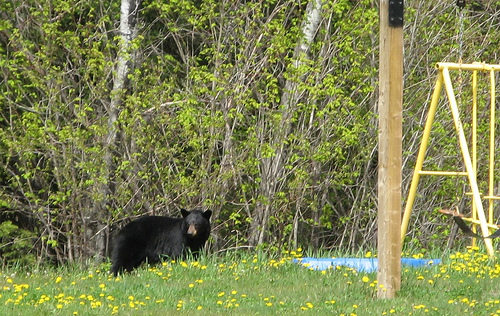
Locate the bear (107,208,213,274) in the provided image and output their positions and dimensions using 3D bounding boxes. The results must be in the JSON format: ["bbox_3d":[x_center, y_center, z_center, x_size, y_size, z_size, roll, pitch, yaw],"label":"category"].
[{"bbox_3d":[-1.819,1.708,20.643,1.844,1.328,0.512,1,-6,13],"label":"bear"}]
